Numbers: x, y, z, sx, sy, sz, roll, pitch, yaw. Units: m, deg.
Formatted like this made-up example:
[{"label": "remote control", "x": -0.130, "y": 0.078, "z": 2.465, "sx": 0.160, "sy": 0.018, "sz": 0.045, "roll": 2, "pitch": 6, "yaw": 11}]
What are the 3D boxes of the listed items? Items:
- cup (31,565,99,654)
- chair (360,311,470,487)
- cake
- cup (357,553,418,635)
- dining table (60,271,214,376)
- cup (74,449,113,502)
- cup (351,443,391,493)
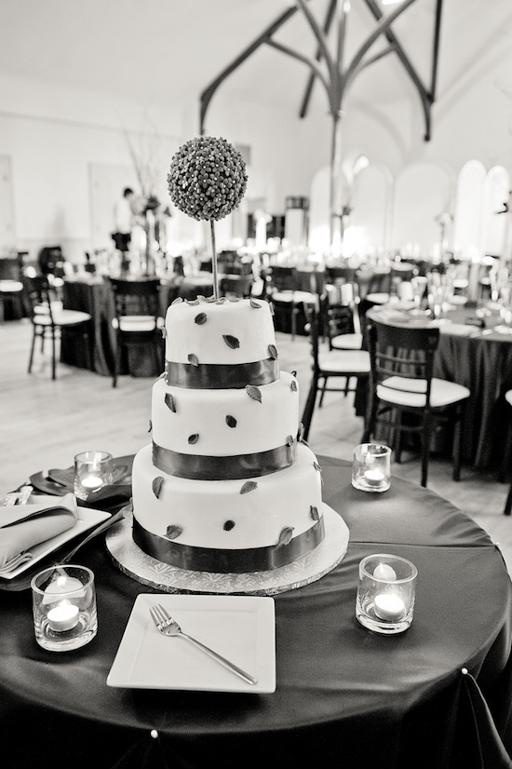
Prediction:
[{"label": "cup", "x": -0.298, "y": 0.350, "z": 1.019, "sx": 0.102, "sy": 0.130, "sz": 0.101, "roll": -1, "pitch": 11, "yaw": 0}, {"label": "chair", "x": 0.825, "y": 0.085, "z": 3.176, "sx": 0.438, "sy": 0.949, "sz": 0.450, "roll": -28, "pitch": 36, "yaw": -37}, {"label": "cake", "x": -0.057, "y": 0.070, "z": 1.291, "sx": 0.403, "sy": 0.513, "sz": 0.411, "roll": 12, "pitch": 23, "yaw": 31}, {"label": "cup", "x": 0.211, "y": 0.339, "z": 1.036, "sx": 0.082, "sy": 0.110, "sz": 0.105, "roll": 1, "pitch": 10, "yaw": 4}, {"label": "dining table", "x": -1.231, "y": -0.519, "z": 5.779, "sx": 0.923, "sy": 0.954, "sz": 1.309, "roll": 1, "pitch": 7, "yaw": -4}, {"label": "cup", "x": -0.390, "y": 0.212, "z": 1.479, "sx": 0.084, "sy": 0.117, "sz": 0.094, "roll": 0, "pitch": 14, "yaw": -6}, {"label": "cup", "x": 0.302, "y": 0.195, "z": 1.559, "sx": 0.095, "sy": 0.128, "sz": 0.107, "roll": -3, "pitch": 13, "yaw": -8}]
